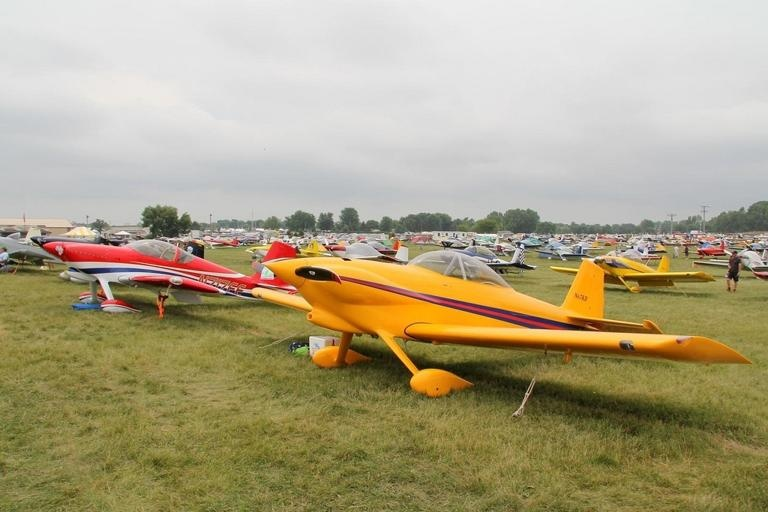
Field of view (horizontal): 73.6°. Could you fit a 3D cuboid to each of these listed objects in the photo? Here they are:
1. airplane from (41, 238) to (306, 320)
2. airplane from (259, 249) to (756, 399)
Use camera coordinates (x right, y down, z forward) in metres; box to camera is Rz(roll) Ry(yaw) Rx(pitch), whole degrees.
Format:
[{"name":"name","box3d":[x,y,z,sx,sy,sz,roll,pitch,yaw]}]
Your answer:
[{"name":"airplane","box3d":[-5.930,0.383,13.665,4.047,0.901,3.722,7,-1,-22]},{"name":"airplane","box3d":[1.536,1.104,9.076,6.405,2.250,2.428,4,7,22]}]
